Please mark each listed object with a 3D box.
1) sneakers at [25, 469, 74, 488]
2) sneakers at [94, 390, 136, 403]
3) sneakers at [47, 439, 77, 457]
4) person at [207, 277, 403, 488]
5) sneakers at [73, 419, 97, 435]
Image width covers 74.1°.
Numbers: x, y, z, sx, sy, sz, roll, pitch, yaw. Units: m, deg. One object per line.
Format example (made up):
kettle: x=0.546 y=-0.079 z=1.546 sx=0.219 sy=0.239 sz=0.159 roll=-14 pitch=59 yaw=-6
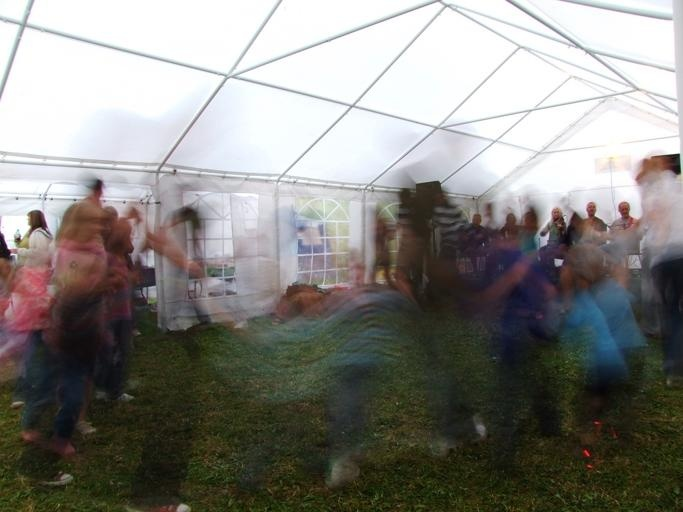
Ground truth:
sneakers: x=-2.569 y=1.962 z=4.028 sx=0.353 sy=0.151 sz=0.122 roll=5 pitch=-13 yaw=3
sneakers: x=-2.628 y=1.639 z=5.253 sx=0.265 sy=0.070 sz=0.201 roll=-1 pitch=0 yaw=27
sneakers: x=-2.624 y=1.790 z=4.256 sx=0.198 sy=0.217 sz=0.095 roll=-4 pitch=9 yaw=5
person: x=-0.066 y=1.000 z=4.017 sx=0.601 sy=2.041 sz=1.578 roll=19 pitch=-17 yaw=-31
sneakers: x=-2.652 y=1.772 z=4.692 sx=0.243 sy=0.067 sz=0.145 roll=13 pitch=11 yaw=28
